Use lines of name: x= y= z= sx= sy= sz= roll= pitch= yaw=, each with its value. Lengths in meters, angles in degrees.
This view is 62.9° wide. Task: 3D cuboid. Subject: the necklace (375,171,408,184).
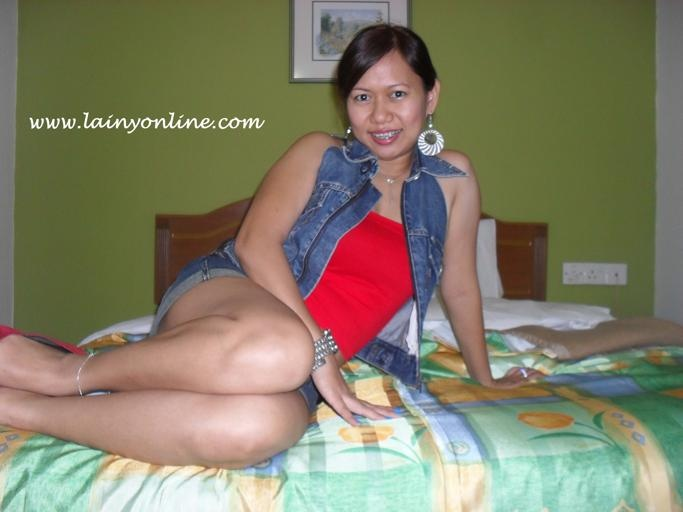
necklace: x=0.167 y=-0.261 z=1.860 sx=0.072 sy=0.058 sz=0.028 roll=0 pitch=23 yaw=-6

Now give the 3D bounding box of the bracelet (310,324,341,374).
bracelet: x=-0.041 y=0.257 z=1.553 sx=0.071 sy=0.047 sz=0.097 roll=-1 pitch=17 yaw=-4

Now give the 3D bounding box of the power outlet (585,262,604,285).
power outlet: x=1.437 y=0.105 z=3.208 sx=0.100 sy=0.121 sz=0.026 roll=-2 pitch=-1 yaw=-5
